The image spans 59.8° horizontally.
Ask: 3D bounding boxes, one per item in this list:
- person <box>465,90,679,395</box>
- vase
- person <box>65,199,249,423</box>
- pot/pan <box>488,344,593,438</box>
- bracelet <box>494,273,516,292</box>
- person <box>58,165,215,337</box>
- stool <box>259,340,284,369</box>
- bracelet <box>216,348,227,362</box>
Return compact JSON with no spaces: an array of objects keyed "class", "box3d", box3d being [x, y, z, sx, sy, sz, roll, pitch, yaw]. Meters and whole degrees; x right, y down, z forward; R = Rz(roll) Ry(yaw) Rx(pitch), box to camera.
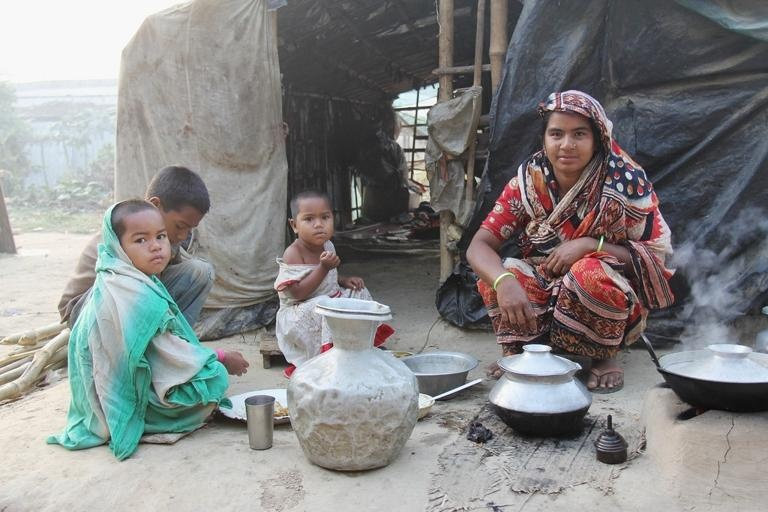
[{"class":"person","box3d":[1.250,-0.136,4.496,1.311,1.719,1.205,5,17,35]},{"class":"vase","box3d":[-0.150,0.703,3.698,0.764,0.820,0.680,-4,6,-10]},{"class":"person","box3d":[-1.429,0.361,3.833,0.707,1.299,0.667,10,21,40]},{"class":"pot/pan","box3d":[0.884,0.731,3.763,0.533,0.362,0.564,4,10,28]},{"class":"bracelet","box3d":[0.755,0.158,4.218,0.135,0.107,0.105,-5,15,-11]},{"class":"person","box3d":[-1.582,0.053,4.429,0.858,1.268,0.738,18,8,11]},{"class":"stool","box3d":[-0.841,0.764,4.990,0.194,0.085,0.269,2,11,1]},{"class":"bracelet","box3d":[-0.985,0.606,4.068,0.072,0.049,0.067,15,6,3]}]
